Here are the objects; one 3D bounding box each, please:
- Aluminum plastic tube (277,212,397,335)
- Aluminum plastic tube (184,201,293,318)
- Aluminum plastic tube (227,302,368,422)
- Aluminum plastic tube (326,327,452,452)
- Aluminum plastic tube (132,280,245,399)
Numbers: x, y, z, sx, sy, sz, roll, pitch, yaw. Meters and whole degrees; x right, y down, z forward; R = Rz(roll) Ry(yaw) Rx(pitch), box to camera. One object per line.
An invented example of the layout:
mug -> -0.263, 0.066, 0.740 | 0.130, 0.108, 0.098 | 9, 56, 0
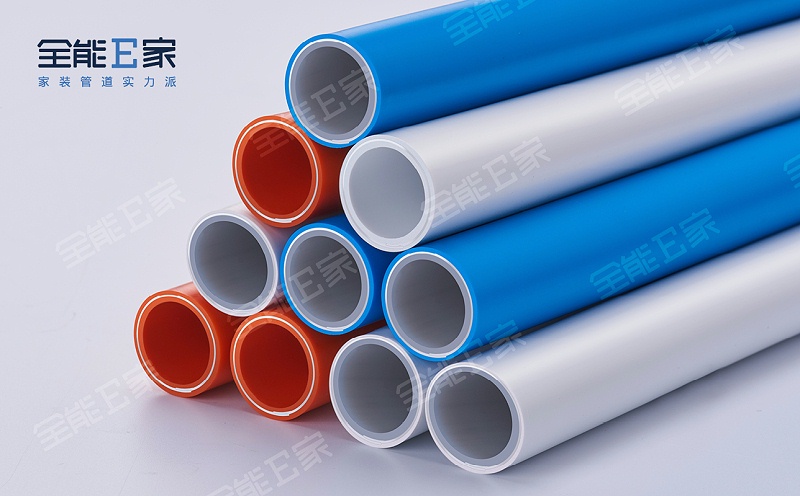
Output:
Aluminum plastic tube -> -0.182, 0.106, 2.248 | 0.336, 0.391, 0.366 | -13, -2, 24
Aluminum plastic tube -> -0.502, 0.053, 2.358 | 0.329, 0.386, 0.367 | -1, 15, 14
Aluminum plastic tube -> -0.384, 0.375, 2.371 | 0.365, 0.430, 0.461 | -4, 5, 32
Aluminum plastic tube -> -0.018, 0.449, 2.213 | 0.328, 0.382, 0.352 | -12, 2, 30
Aluminum plastic tube -> -0.697, 0.299, 2.473 | 0.320, 0.334, 0.446 | -1, 10, 23
